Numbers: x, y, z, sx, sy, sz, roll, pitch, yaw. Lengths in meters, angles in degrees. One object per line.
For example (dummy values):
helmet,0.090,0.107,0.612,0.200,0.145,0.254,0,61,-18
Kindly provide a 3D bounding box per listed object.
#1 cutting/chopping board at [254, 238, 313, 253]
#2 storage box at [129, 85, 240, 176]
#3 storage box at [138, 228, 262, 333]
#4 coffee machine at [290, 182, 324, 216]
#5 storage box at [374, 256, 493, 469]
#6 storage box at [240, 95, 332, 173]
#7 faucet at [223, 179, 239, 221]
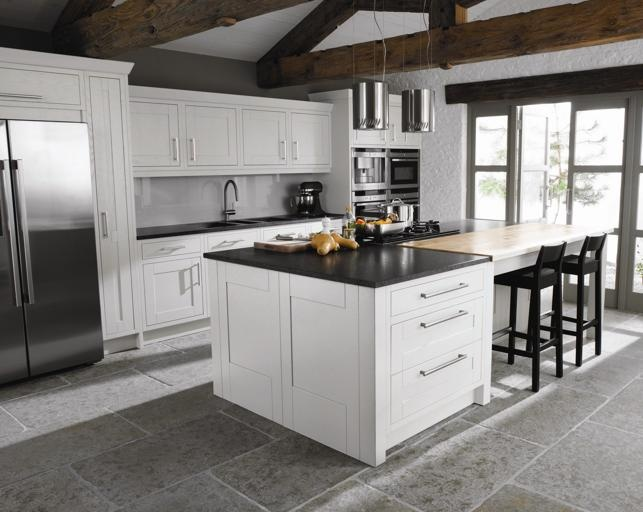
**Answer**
cutting/chopping board,-0.288,-0.066,3.404,0.407,0.059,0.181,2,11,18
storage box,-1.336,-1.192,4.754,1.190,0.577,0.411,-7,10,-44
storage box,-0.925,0.200,4.718,1.533,0.772,0.485,-8,-10,26
coffee machine,-0.153,-0.689,5.968,0.269,0.370,0.453,6,11,44
storage box,0.481,0.579,3.110,0.620,0.988,1.247,5,9,44
storage box,-0.542,-1.342,5.708,0.477,0.726,1.372,13,18,41
faucet,-1.000,-0.617,5.479,0.187,0.457,0.364,-4,13,-9
